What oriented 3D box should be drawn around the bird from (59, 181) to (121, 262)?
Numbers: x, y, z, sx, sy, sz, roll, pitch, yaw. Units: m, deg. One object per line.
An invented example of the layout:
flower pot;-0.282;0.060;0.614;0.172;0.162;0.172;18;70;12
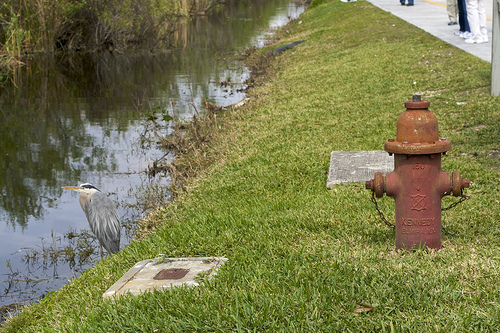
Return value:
bird;-3.575;1.291;17.535;1.280;1.831;0.748;2;6;-7
